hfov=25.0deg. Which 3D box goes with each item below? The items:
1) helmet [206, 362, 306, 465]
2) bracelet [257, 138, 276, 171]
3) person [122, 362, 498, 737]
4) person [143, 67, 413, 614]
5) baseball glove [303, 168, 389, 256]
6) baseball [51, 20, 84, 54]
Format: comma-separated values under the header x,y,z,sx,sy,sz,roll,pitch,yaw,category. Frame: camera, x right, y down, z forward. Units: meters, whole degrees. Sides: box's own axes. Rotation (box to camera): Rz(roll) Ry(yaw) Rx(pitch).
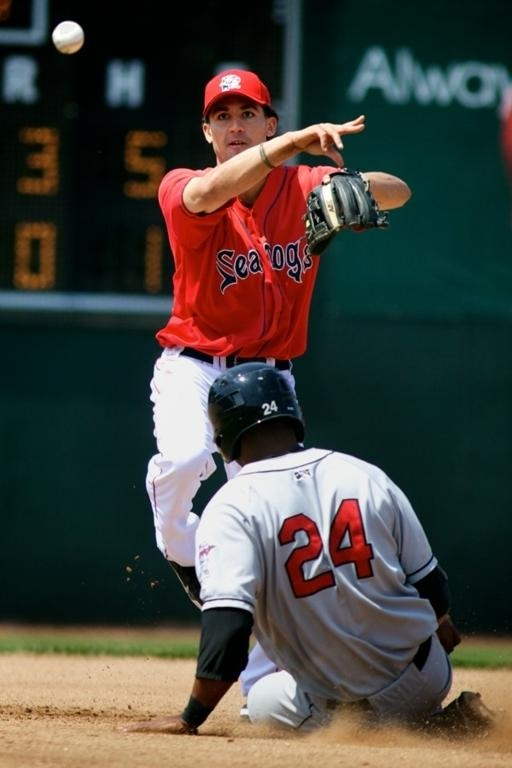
x,y,z,sx,sy,sz,roll,pitch,yaw,category
-0.010,0.058,2.881,0.203,0.244,0.271,-18,9,-30,helmet
0.032,-0.645,3.205,0.016,0.064,0.065,-10,0,14,bracelet
0.063,0.447,2.775,0.757,0.951,0.547,-13,17,0,person
0.019,-0.119,3.519,0.777,1.594,0.799,-2,-4,28,person
0.243,-0.485,3.157,0.249,0.097,0.195,-18,0,-27,baseball glove
-0.710,-1.323,4.361,0.103,0.135,0.222,10,7,-13,baseball
